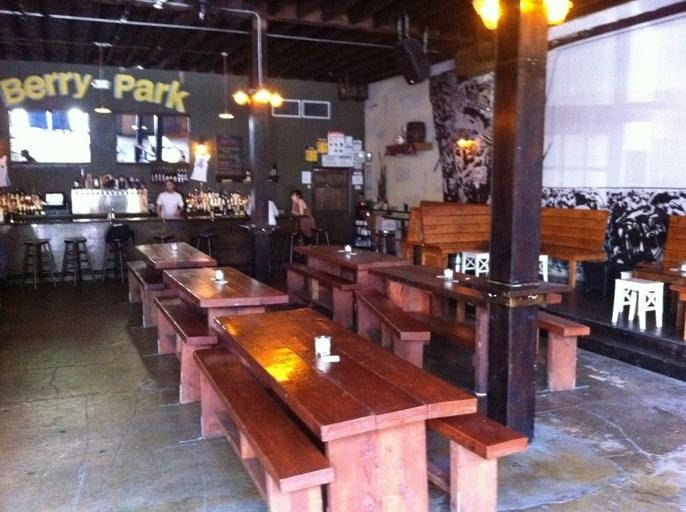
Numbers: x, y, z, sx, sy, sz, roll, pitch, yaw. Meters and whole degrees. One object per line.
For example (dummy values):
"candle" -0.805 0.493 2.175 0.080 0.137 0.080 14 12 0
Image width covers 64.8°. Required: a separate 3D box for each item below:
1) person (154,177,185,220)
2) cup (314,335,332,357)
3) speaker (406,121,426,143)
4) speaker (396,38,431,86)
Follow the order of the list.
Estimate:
"person" -3.698 -1.145 11.540 0.579 0.954 0.482 3 12 -15
"cup" -0.131 0.612 3.723 0.125 0.127 0.117 0 5 0
"speaker" 1.642 -2.783 12.123 0.465 0.464 0.472 10 13 43
"speaker" 0.892 -2.518 7.057 0.427 0.607 0.184 -19 12 -2
